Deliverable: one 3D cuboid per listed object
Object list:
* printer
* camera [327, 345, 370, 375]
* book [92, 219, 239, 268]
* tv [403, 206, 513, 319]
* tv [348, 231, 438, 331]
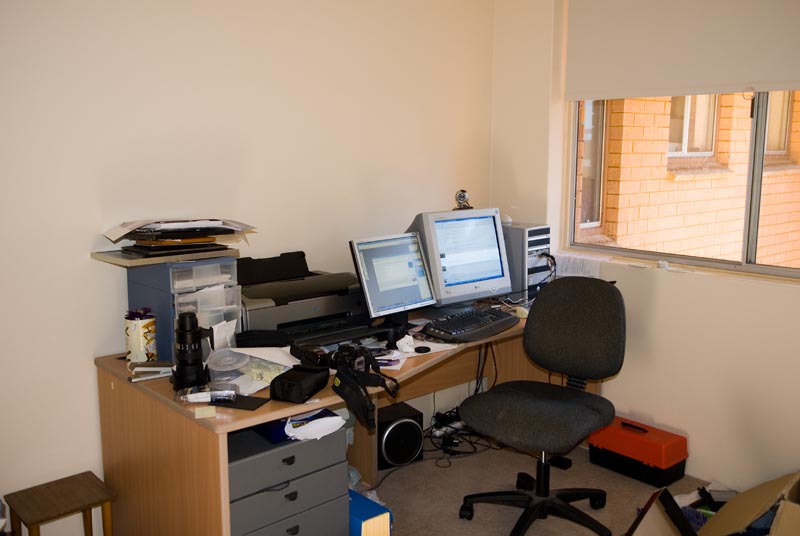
[{"bbox_3d":[-0.571,0.189,3.132,0.662,0.359,0.505,-7,7,-39],"label":"printer"},{"bbox_3d":[-0.250,0.430,2.772,0.143,0.089,0.136,2,2,20],"label":"camera"},{"bbox_3d":[-1.170,-0.138,3.005,0.724,0.226,0.406,-10,13,-27],"label":"book"},{"bbox_3d":[0.297,-0.042,3.831,0.633,0.563,0.650,-15,-6,-40],"label":"tv"},{"bbox_3d":[-0.034,0.080,3.287,0.516,0.477,0.183,-17,-11,-41],"label":"tv"}]
